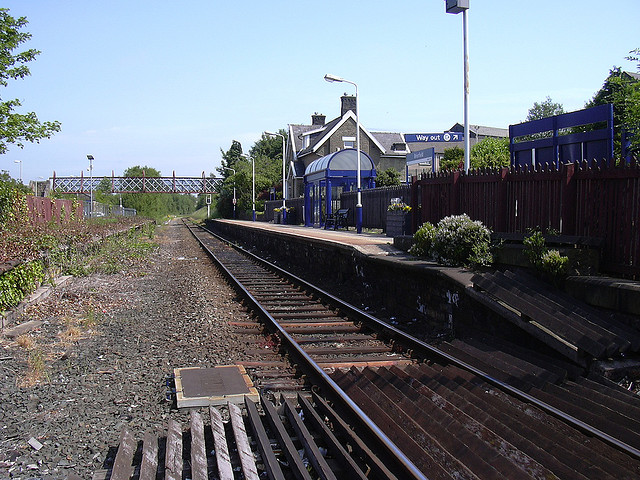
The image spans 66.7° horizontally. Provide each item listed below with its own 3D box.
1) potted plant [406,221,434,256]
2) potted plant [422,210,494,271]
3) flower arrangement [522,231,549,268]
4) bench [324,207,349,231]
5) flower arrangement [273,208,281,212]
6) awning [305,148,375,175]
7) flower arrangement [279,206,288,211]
[{"bbox_3d":[2.264,-0.025,11.118,0.553,0.919,0.711,1,11,16],"label":"potted plant"},{"bbox_3d":[2.779,-0.020,9.311,1.023,0.952,1.009,-3,7,-45],"label":"potted plant"},{"bbox_3d":[3.417,0.162,7.713,0.243,0.579,0.707,0,4,-5],"label":"flower arrangement"},{"bbox_3d":[1.026,-1.339,27.464,1.262,1.899,1.247,-1,-2,45],"label":"bench"},{"bbox_3d":[-3.785,-2.788,43.773,0.497,0.358,0.550,0,1,-19],"label":"flower arrangement"},{"bbox_3d":[0.893,-4.704,28.167,4.273,1.257,2.033,4,5,39],"label":"awning"},{"bbox_3d":[-3.099,-2.833,41.618,0.497,0.584,0.531,0,-2,-15],"label":"flower arrangement"}]
